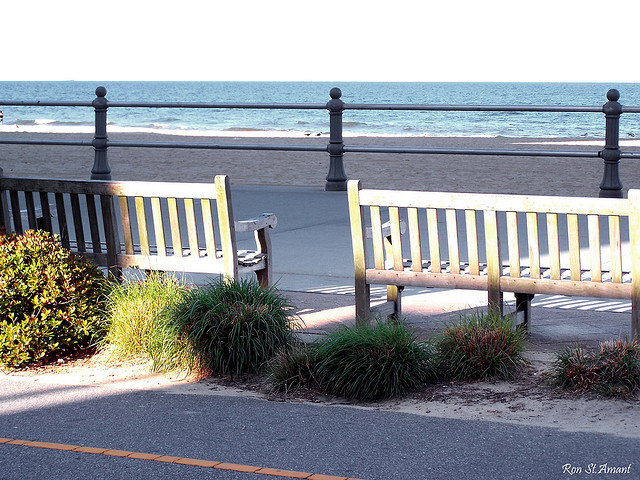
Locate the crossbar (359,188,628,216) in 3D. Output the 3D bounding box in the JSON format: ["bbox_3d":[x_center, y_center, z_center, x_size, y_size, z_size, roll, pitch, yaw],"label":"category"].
[{"bbox_3d":[1.027,-0.228,4.651,1.612,0.125,0.228,3,12,22],"label":"crossbar"}]

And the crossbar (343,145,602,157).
[{"bbox_3d":[1.991,-1.130,9.829,3.219,0.142,0.573,1,12,9],"label":"crossbar"}]

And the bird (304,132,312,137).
[{"bbox_3d":[-0.684,-6.119,43.954,0.610,0.174,0.235,1,8,30],"label":"bird"}]

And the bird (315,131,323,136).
[{"bbox_3d":[-0.070,-6.250,44.783,0.229,0.308,0.723,-5,22,-10],"label":"bird"}]
